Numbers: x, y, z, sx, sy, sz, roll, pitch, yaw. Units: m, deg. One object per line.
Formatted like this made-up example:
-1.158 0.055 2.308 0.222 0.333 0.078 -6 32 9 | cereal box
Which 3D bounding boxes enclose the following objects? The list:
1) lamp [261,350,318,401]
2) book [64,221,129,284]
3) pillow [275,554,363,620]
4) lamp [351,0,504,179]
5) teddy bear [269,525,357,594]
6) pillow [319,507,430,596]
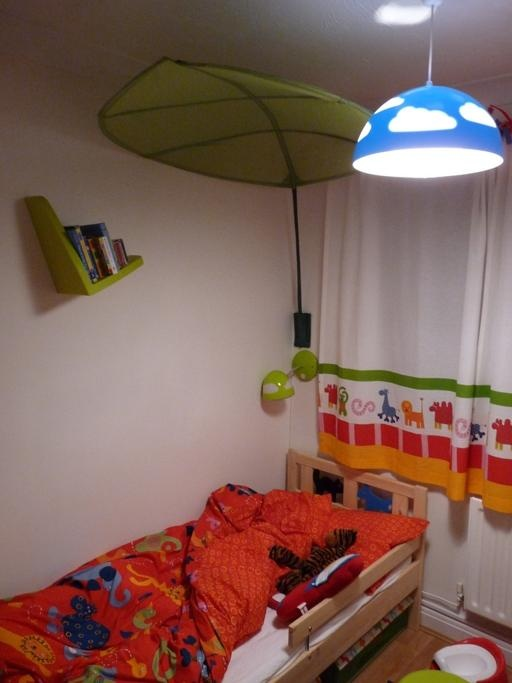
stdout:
0.145 0.187 3.110 0.222 0.270 0.375 1 -14 -27 | lamp
-0.553 -0.307 1.956 0.059 0.195 0.224 4 14 32 | book
0.221 0.858 2.032 0.319 0.110 0.184 -27 -17 -1 | pillow
0.384 -0.493 1.278 0.370 0.386 0.346 -3 11 -12 | lamp
0.241 0.887 2.324 0.317 0.088 0.174 -22 6 -33 | teddy bear
0.540 0.899 2.458 0.270 0.083 0.277 7 26 44 | pillow
